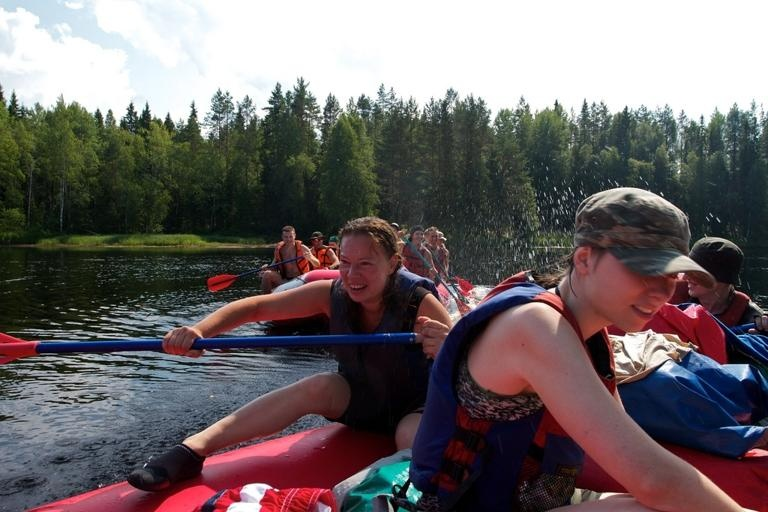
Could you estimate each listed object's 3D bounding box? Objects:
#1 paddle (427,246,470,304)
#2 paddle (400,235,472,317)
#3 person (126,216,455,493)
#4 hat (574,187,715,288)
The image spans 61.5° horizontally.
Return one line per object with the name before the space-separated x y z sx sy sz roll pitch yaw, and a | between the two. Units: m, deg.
paddle | 1.230 0.351 12.219 0.438 0.114 2.241 33 -11 33
paddle | 0.820 0.291 10.752 0.108 0.631 1.948 6 -31 37
person | -0.414 0.540 4.081 1.661 1.583 0.622 2 3 -9
hat | 1.253 -0.107 3.121 0.553 0.419 0.762 7 5 -39
